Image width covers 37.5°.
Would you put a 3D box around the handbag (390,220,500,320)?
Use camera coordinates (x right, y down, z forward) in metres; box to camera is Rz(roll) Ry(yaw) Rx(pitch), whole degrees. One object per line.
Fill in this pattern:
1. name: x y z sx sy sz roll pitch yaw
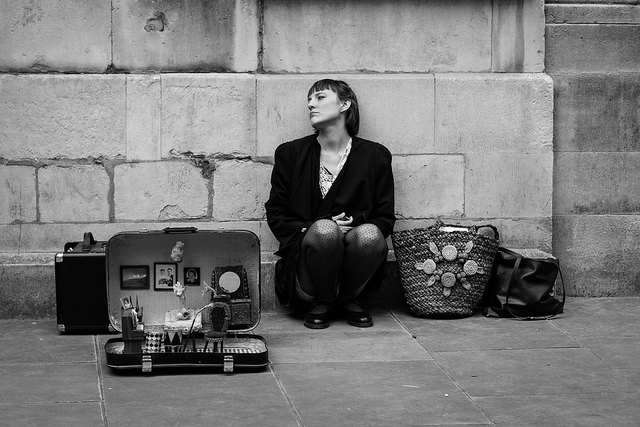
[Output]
1. handbag: 1.029 0.530 8.534 1.125 0.866 0.855 -1 -9 2

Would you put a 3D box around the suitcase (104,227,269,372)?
1. suitcase: -1.024 0.618 7.589 1.534 1.056 1.101 0 -4 -6

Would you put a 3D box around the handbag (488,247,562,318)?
1. handbag: 1.762 0.603 8.294 0.683 0.506 0.620 0 -4 2

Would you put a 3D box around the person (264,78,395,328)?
1. person: 0.090 -0.104 8.097 1.107 2.102 0.762 -2 5 -3
